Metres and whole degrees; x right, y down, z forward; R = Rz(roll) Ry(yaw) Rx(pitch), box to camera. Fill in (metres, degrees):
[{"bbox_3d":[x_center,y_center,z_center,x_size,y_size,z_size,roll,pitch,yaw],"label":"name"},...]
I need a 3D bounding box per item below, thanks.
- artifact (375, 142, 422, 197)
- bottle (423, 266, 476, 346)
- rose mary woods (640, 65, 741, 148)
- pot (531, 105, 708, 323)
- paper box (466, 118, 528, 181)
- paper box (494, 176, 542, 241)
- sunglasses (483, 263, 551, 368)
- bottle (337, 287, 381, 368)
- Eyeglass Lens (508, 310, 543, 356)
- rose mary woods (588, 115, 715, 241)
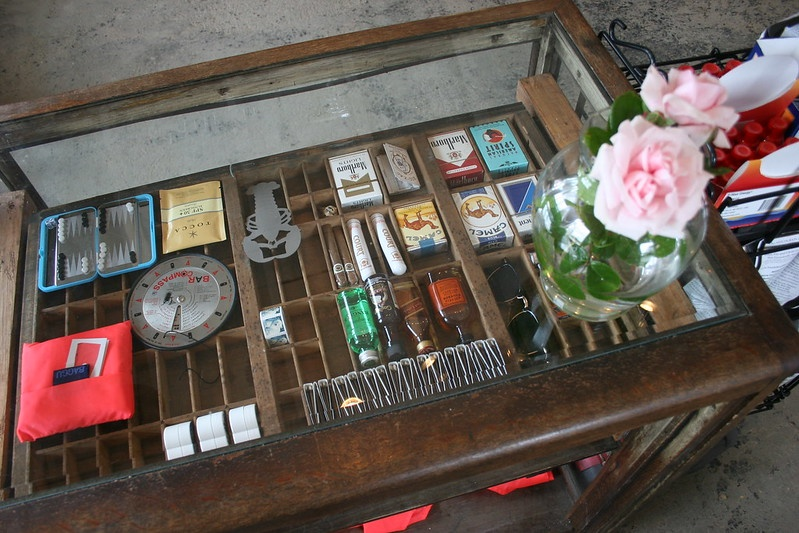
[{"bbox_3d":[-0.009,-0.212,1.441,0.086,0.109,0.036,-11,-26,-4],"label":"artifact"},{"bbox_3d":[0.100,0.075,1.298,0.077,0.141,0.046,-7,-30,-10],"label":"bottle"},{"bbox_3d":[0.473,-0.268,1.102,0.136,0.127,0.076,-43,-8,-41],"label":"rose mary woods"},{"bbox_3d":[0.410,-0.058,1.325,0.275,0.284,0.325,12,-42,16],"label":"pot"},{"bbox_3d":[0.221,-0.271,1.485,0.105,0.140,0.037,-14,-34,-5],"label":"paper box"},{"bbox_3d":[0.252,-0.135,1.422,0.125,0.127,0.033,-10,-32,-7],"label":"paper box"},{"bbox_3d":[0.238,0.087,1.301,0.050,0.156,0.158,-28,-28,-8],"label":"sunglasses"},{"bbox_3d":[-0.089,0.114,1.294,0.076,0.146,0.054,-8,-26,-14],"label":"bottle"},{"bbox_3d":[0.241,0.128,1.279,0.069,0.067,0.016,-22,-25,-12],"label":"Eyeglass Lens"},{"bbox_3d":[0.412,-0.148,1.127,0.188,0.192,0.109,-43,-8,16],"label":"rose mary woods"}]
